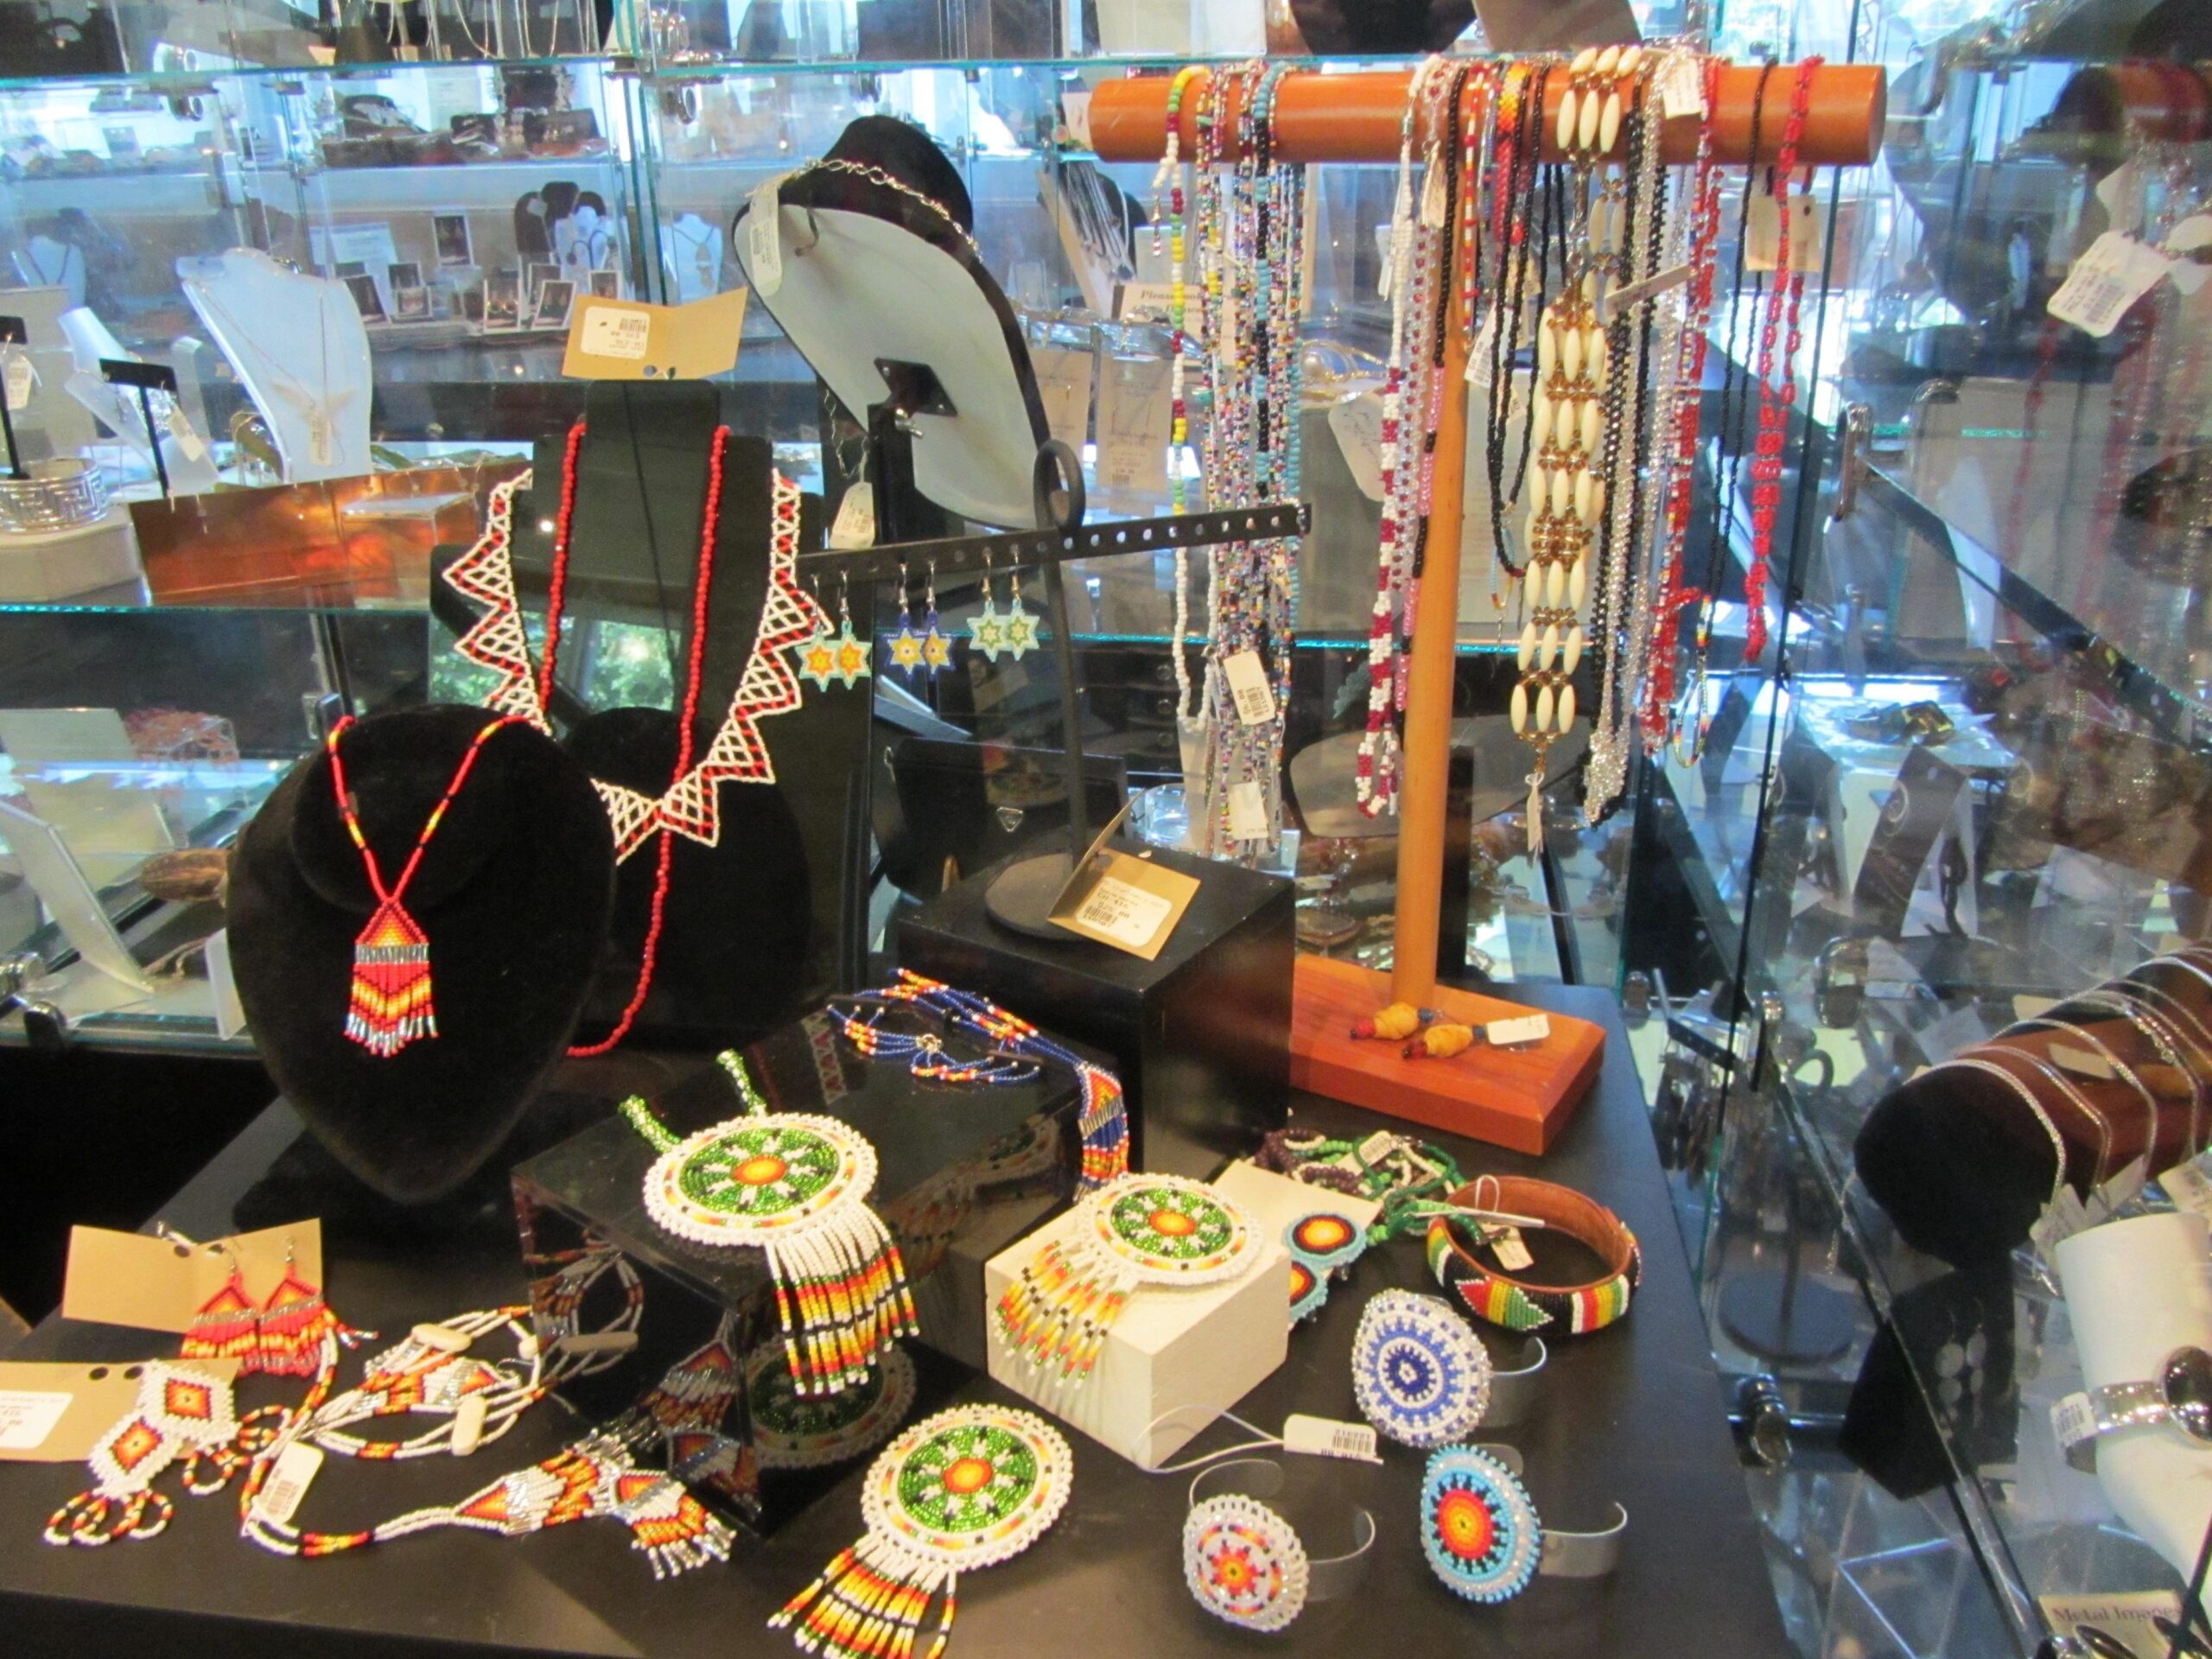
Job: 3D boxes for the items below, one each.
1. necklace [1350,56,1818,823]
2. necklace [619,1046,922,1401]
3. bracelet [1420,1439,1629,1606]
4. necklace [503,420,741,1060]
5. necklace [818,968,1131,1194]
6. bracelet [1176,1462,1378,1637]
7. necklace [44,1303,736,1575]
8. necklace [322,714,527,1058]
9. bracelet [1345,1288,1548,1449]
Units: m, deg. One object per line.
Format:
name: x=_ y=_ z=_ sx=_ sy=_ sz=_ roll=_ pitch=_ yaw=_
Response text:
necklace: x=0.449 y=-0.407 z=1.638 sx=0.427 sy=0.770 sz=0.203 roll=5 pitch=11 yaw=6
necklace: x=-0.306 y=0.398 z=1.513 sx=0.259 sy=0.175 sz=0.197 roll=18 pitch=28 yaw=37
bracelet: x=0.370 y=0.597 z=1.407 sx=0.140 sy=0.099 sz=0.129 roll=-6 pitch=12 yaw=-33
necklace: x=-0.595 y=-0.251 z=1.964 sx=0.198 sy=0.036 sz=0.846 roll=1 pitch=48 yaw=-10
necklace: x=-0.147 y=0.217 z=1.736 sx=0.392 sy=0.160 sz=0.146 roll=22 pitch=37 yaw=21
bracelet: x=0.157 y=0.620 z=1.417 sx=0.111 sy=0.087 sz=0.139 roll=8 pitch=1 yaw=28
necklace: x=-0.647 y=0.574 z=1.524 sx=0.641 sy=0.091 sz=0.249 roll=2 pitch=22 yaw=5
necklace: x=-0.722 y=0.061 z=1.699 sx=0.214 sy=0.345 sz=0.126 roll=-8 pitch=23 yaw=-19
bracelet: x=0.333 y=0.491 z=1.543 sx=0.117 sy=0.100 sz=0.159 roll=24 pitch=22 yaw=32
